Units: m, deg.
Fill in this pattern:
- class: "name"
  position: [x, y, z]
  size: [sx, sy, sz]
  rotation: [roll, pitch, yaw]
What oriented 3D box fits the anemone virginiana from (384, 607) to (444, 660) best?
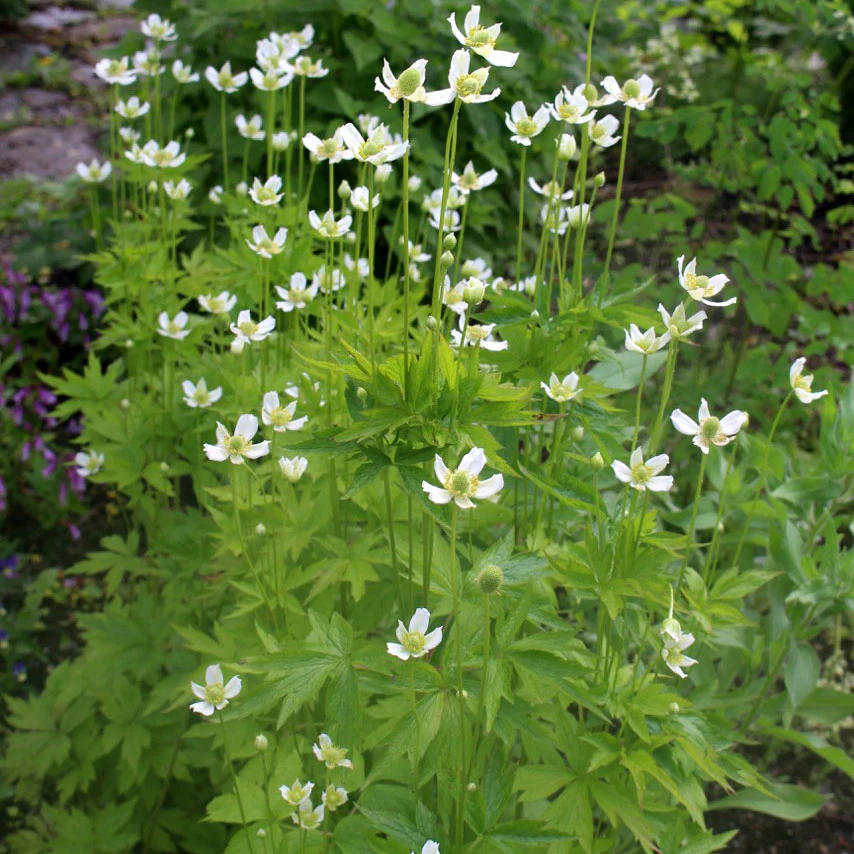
- class: "anemone virginiana"
  position: [-0.019, 0.371, 1.637]
  size: [0.087, 0.051, 0.105]
  rotation: [15, 17, 19]
